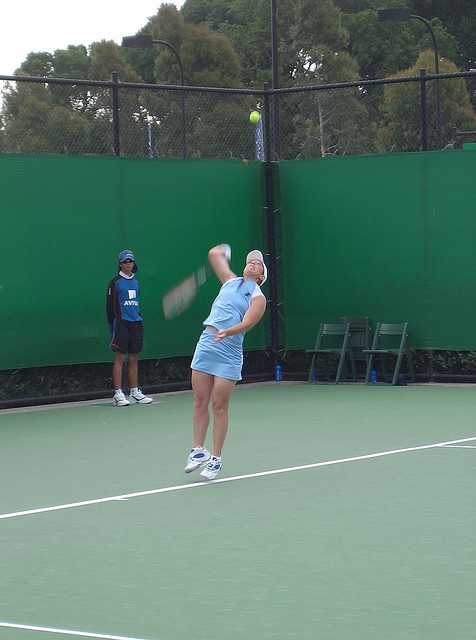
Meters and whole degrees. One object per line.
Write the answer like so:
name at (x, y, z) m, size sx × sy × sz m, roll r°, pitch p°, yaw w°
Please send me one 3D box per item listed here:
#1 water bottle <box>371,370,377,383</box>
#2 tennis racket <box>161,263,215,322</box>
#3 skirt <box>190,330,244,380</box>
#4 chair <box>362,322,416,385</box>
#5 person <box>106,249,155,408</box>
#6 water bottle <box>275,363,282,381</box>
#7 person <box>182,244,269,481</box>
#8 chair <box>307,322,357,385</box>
water bottle at (2.108, 0.861, 10.785) m, size 0.077 × 0.215 × 0.150 m, roll -1°, pitch -1°, yaw 1°
tennis racket at (-0.622, -0.320, 8.208) m, size 0.076 × 0.355 × 1.543 m, roll -8°, pitch 19°, yaw 24°
skirt at (-0.149, 0.246, 5.037) m, size 0.395 × 0.288 × 0.234 m, roll 11°, pitch 11°, yaw 6°
chair at (2.292, 0.510, 10.556) m, size 0.751 × 0.920 × 0.791 m, roll 3°, pitch 9°, yaw 22°
person at (-1.499, 0.114, 9.611) m, size 0.598 × 2.093 × 1.066 m, roll -2°, pitch 9°, yaw -8°
water bottle at (0.653, 0.833, 11.276) m, size 0.102 × 0.276 × 0.323 m, roll 0°, pitch 9°, yaw 4°
person at (-0.116, 0.357, 5.526) m, size 0.671 × 1.851 × 1.583 m, roll 0°, pitch 9°, yaw 1°
chair at (1.475, 0.523, 10.907) m, size 0.775 × 0.965 × 0.557 m, roll 1°, pitch 9°, yaw 8°
